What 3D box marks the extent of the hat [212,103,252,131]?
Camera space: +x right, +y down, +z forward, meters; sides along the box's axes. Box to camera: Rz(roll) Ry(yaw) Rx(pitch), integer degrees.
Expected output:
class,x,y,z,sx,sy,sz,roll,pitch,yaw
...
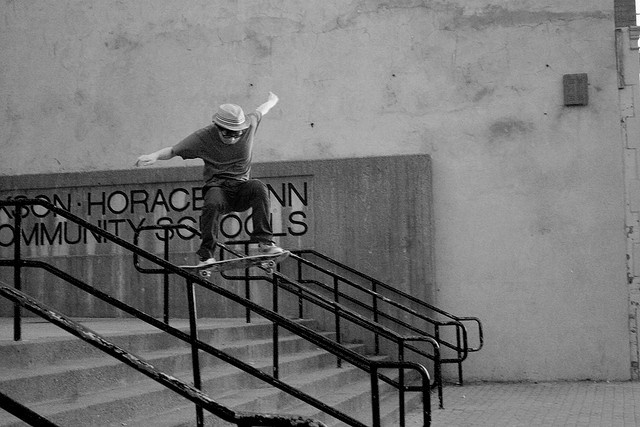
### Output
class,x,y,z,sx,sy,sz,roll,pitch,yaw
hat,-1.460,-1.588,18.686,0.522,0.206,0.588,20,20,25

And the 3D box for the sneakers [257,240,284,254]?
class,x,y,z,sx,sy,sz,roll,pitch,yaw
sneakers,-0.766,0.578,18.534,0.391,0.146,0.184,-3,-5,30

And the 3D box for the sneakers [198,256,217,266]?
class,x,y,z,sx,sy,sz,roll,pitch,yaw
sneakers,-1.788,0.787,18.293,0.310,0.123,0.118,-14,-23,23

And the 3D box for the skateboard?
class,x,y,z,sx,sy,sz,roll,pitch,yaw
skateboard,-1.370,0.883,19.687,1.669,0.261,0.423,-7,-31,-5
